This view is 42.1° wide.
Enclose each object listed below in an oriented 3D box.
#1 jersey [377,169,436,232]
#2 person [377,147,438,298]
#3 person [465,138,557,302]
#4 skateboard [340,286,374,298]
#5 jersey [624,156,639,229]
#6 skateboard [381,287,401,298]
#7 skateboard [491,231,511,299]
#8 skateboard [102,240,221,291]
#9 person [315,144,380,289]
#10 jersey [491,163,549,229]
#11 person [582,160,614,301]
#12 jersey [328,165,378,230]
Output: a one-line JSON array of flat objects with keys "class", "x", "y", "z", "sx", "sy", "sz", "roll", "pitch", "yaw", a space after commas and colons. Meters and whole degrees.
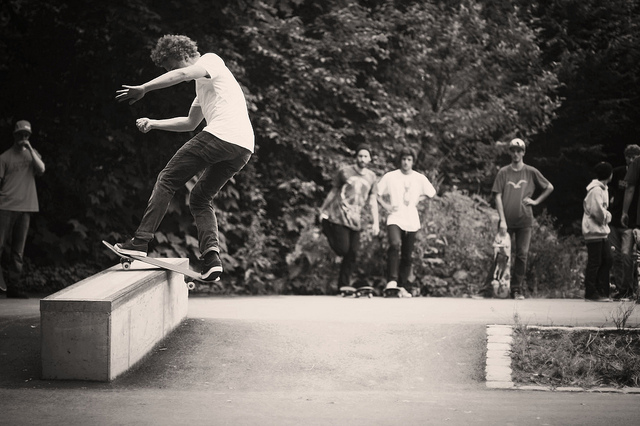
[{"class": "jersey", "x": 1.478, "y": -0.185, "z": 14.337, "sx": 0.942, "sy": 1.000, "sz": 0.442, "roll": 3, "pitch": -29, "yaw": 1}, {"class": "person", "x": 1.539, "y": 0.161, "z": 14.309, "sx": 1.128, "sy": 2.495, "sz": 0.511, "roll": 7, "pitch": -8, "yaw": -28}, {"class": "person", "x": 3.364, "y": 0.105, "z": 14.189, "sx": 1.194, "sy": 2.753, "sz": 0.604, "roll": 2, "pitch": -7, "yaw": 10}, {"class": "skateboard", "x": 0.628, "y": 1.343, "z": 14.277, "sx": 0.412, "sy": 0.103, "sz": 0.211, "roll": -1, "pitch": 2, "yaw": -10}, {"class": "jersey", "x": 5.190, "y": -0.342, "z": 13.763, "sx": 0.207, "sy": 1.188, "sz": 0.222, "roll": 2, "pitch": -7, "yaw": 17}, {"class": "skateboard", "x": 1.226, "y": 1.336, "z": 14.120, "sx": 0.295, "sy": 0.193, "sz": 0.460, "roll": 3, "pitch": -6, "yaw": 5}, {"class": "skateboard", "x": 3.111, "y": 0.867, "z": 14.195, "sx": 0.289, "sy": 1.110, "sz": 0.166, "roll": 0, "pitch": -3, "yaw": 17}, {"class": "skateboard", "x": -2.282, "y": 0.702, "z": 11.596, "sx": 1.565, "sy": 0.270, "sz": 0.380, "roll": 25, "pitch": 9, "yaw": -12}, {"class": "person", "x": 0.510, "y": 0.030, "z": 14.216, "sx": 1.005, "sy": 2.464, "sz": 0.323, "roll": 3, "pitch": -7, "yaw": 2}, {"class": "jersey", "x": 3.480, "y": -0.281, "z": 14.235, "sx": 0.981, "sy": 1.132, "sz": 0.435, "roll": 3, "pitch": -18, "yaw": 2}, {"class": "person", "x": 4.677, "y": 0.305, "z": 13.948, "sx": 0.469, "sy": 2.283, "sz": 0.306, "roll": 2, "pitch": -7, "yaw": 17}, {"class": "jersey", "x": 0.587, "y": -0.230, "z": 14.248, "sx": 0.838, "sy": 1.011, "sz": 0.467, "roll": 15, "pitch": -15, "yaw": -17}]
